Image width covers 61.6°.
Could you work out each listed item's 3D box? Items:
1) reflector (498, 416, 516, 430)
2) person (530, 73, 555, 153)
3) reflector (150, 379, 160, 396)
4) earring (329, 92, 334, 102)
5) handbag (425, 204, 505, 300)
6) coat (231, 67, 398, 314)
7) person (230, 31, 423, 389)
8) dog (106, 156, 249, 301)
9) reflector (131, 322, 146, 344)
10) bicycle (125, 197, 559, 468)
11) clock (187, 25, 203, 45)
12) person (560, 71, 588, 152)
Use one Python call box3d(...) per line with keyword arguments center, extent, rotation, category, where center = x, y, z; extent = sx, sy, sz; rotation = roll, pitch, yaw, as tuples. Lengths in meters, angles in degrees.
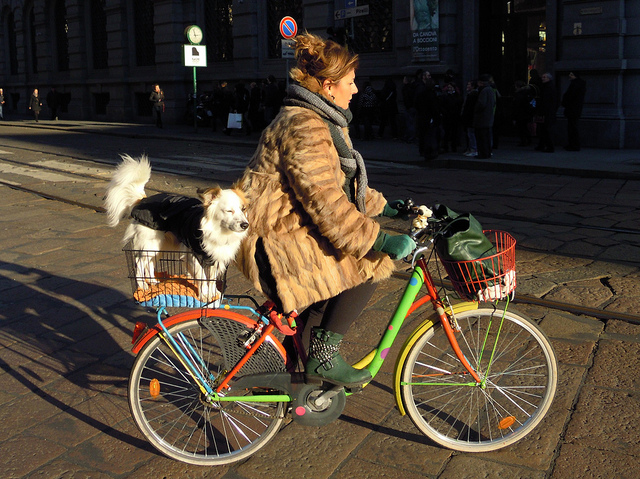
box3d(center=(1.011, 0.998, 2.919), extent=(0.085, 0.052, 0.022), rotation=(-25, -16, 2), category="reflector")
box3d(center=(6.162, -3.424, 14.668), extent=(0.514, 2.065, 0.575), rotation=(6, 14, 22), category="person")
box3d(center=(-0.862, 0.773, 2.805), extent=(0.050, 0.100, 0.055), rotation=(0, 13, -5), category="reflector")
box3d(center=(0.063, -0.720, 2.689), extent=(0.018, 0.033, 0.009), rotation=(-25, 3, -1), category="earring")
box3d(center=(0.725, 0.073, 2.682), extent=(0.393, 0.460, 0.226), rotation=(6, 14, 21), category="handbag")
box3d(center=(-0.059, -0.344, 3.150), extent=(1.074, 1.360, 1.111), rotation=(-2, 13, 2), category="coat")
box3d(center=(0.013, -0.099, 2.785), extent=(0.854, 1.895, 0.673), rotation=(3, 13, 8), category="person")
box3d(center=(-0.799, -0.050, 2.936), extent=(1.158, 0.690, 0.331), rotation=(14, 14, 36), category="dog")
box3d(center=(-0.920, 0.470, 2.732), extent=(0.046, 0.150, 0.038), rotation=(21, 26, -33), category="reflector")
box3d(center=(0.129, 0.532, 2.805), extent=(2.300, 1.346, 0.872), rotation=(-2, 10, -2), category="bicycle")
box3d(center=(-5.059, -8.297, 21.740), extent=(0.499, 0.822, 0.730), rotation=(3, 13, 10), category="clock")
box3d(center=(7.001, -3.560, 14.965), extent=(0.576, 2.158, 1.351), rotation=(6, 14, 23), category="person")
